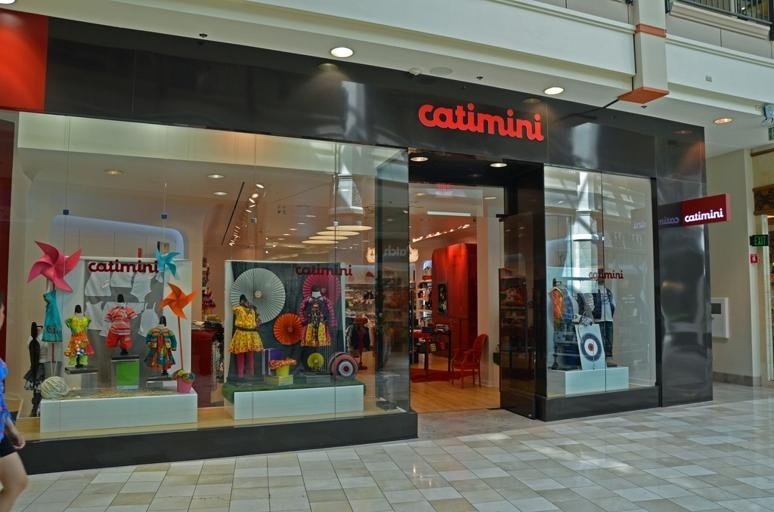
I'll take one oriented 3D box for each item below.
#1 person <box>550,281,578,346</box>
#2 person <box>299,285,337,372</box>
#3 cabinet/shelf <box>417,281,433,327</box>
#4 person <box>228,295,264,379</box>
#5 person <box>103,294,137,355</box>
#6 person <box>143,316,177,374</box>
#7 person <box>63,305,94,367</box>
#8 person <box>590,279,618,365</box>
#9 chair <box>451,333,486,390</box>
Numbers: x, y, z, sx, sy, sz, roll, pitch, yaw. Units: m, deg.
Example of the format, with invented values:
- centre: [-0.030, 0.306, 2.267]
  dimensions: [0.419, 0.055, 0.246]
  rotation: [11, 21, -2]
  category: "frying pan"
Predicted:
- centre: [2.797, 0.899, 9.961]
  dimensions: [0.464, 1.041, 0.196]
  rotation: [-3, 7, -34]
  category: "person"
- centre: [-0.979, 0.971, 8.678]
  dimensions: [0.464, 1.056, 0.269]
  rotation: [-4, -28, -2]
  category: "person"
- centre: [1.143, 1.398, 19.797]
  dimensions: [0.443, 1.285, 2.132]
  rotation: [1, 6, 1]
  category: "cabinet/shelf"
- centre: [-1.904, 1.088, 8.356]
  dimensions: [0.427, 1.064, 0.171]
  rotation: [-1, 6, -16]
  category: "person"
- centre: [-3.424, 0.894, 8.008]
  dimensions: [0.336, 0.765, 0.087]
  rotation: [-1, 6, -13]
  category: "person"
- centre: [-2.926, 1.180, 8.104]
  dimensions: [0.366, 0.770, 0.106]
  rotation: [-1, 6, -18]
  category: "person"
- centre: [-3.877, 1.021, 7.833]
  dimensions: [0.315, 0.770, 0.142]
  rotation: [-2, 6, -25]
  category: "person"
- centre: [3.588, 1.081, 10.231]
  dimensions: [0.497, 1.376, 0.218]
  rotation: [-3, 6, -30]
  category: "person"
- centre: [1.675, 2.118, 12.801]
  dimensions: [0.758, 1.013, 0.710]
  rotation: [4, -7, -35]
  category: "chair"
